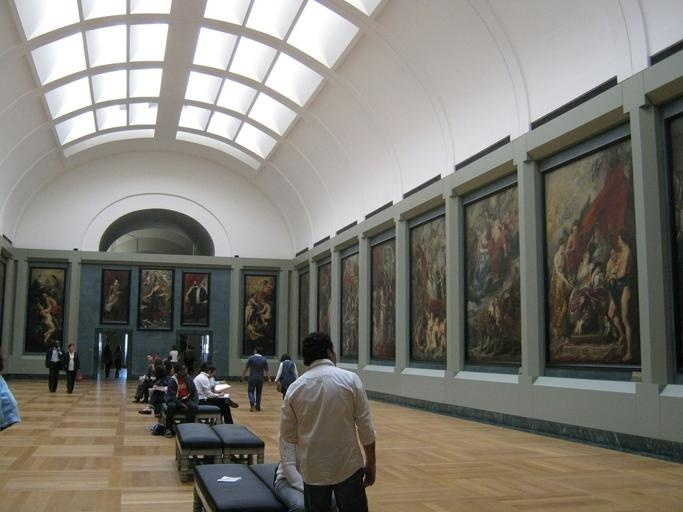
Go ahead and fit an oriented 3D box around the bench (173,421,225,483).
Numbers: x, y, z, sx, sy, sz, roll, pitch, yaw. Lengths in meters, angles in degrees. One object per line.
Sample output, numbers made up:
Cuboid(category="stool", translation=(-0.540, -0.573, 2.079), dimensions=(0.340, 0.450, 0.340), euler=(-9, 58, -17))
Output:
Cuboid(category="bench", translation=(-2.397, 3.522, 8.021), dimensions=(0.628, 0.749, 1.475), euler=(1, -3, -15))
